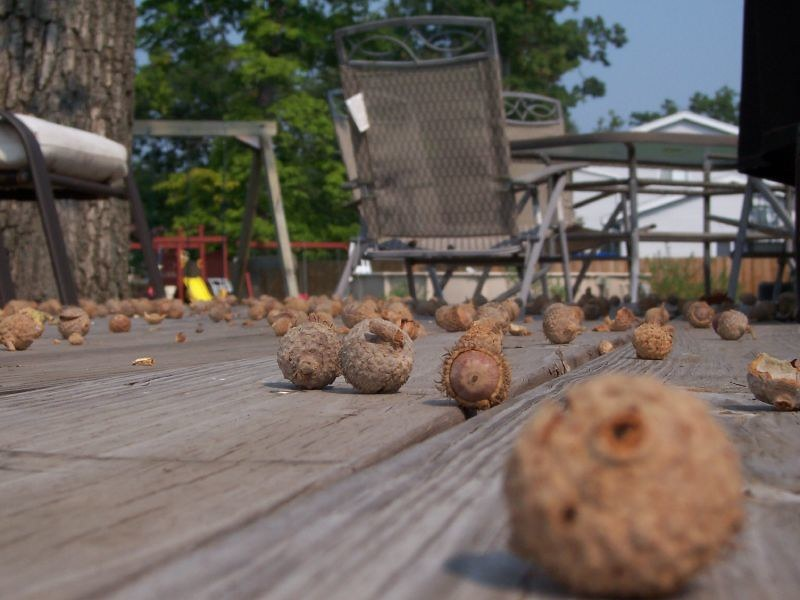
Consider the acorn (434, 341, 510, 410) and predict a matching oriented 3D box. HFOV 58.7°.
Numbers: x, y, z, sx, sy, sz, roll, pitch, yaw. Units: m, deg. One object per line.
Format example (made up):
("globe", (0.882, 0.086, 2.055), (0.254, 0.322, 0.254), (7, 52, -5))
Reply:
("acorn", (0.190, 0.196, 1.781), (0.160, 0.157, 0.144), (2, 5, 17))
